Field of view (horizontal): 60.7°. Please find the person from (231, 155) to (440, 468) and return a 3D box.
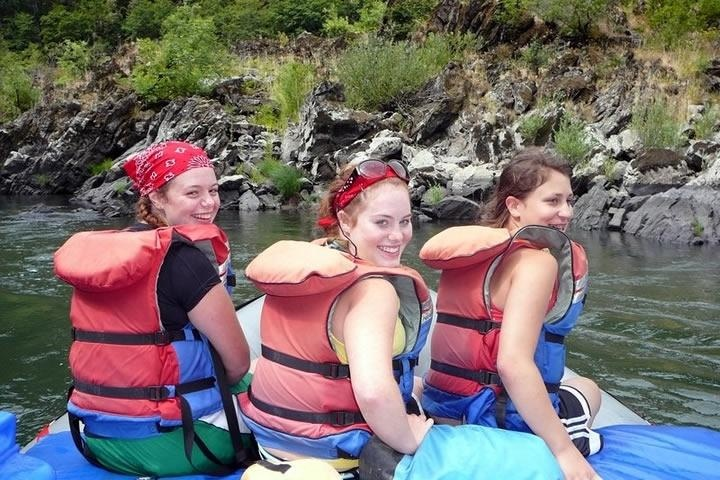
[{"bbox_3d":[-0.118,0.417,3.622,1.099,1.794,0.658,2,5,6],"label":"person"}]
